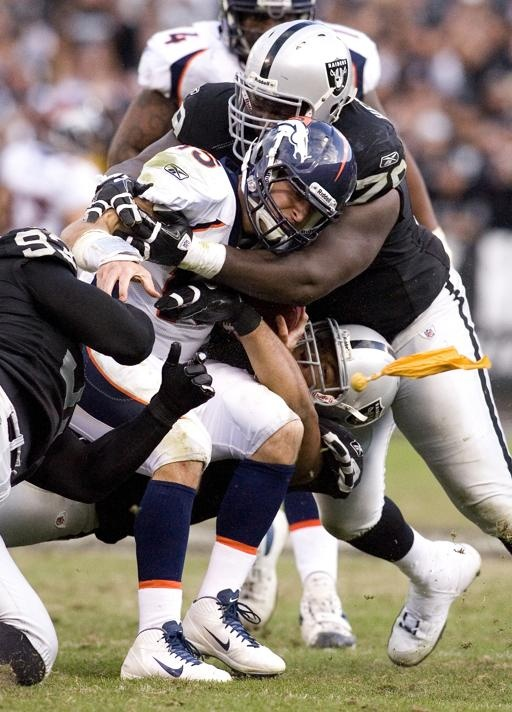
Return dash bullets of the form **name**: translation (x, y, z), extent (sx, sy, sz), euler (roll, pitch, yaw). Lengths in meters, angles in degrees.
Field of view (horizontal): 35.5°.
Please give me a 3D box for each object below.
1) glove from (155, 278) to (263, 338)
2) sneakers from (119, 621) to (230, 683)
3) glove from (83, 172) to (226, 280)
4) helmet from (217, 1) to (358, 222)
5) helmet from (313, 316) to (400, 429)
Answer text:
- **glove**: translation (-0.110, -0.111, 1.880), extent (0.241, 0.090, 0.108), euler (6, 72, -33)
- **sneakers**: translation (-0.181, 0.614, 1.700), extent (0.295, 0.093, 0.125), euler (3, 87, 11)
- **glove**: translation (-0.257, -0.311, 1.855), extent (0.196, 0.098, 0.259), euler (43, 63, 13)
- **helmet**: translation (0.088, -0.689, 2.148), extent (0.336, 0.324, 0.649), euler (8, 34, 5)
- **helmet**: translation (0.282, 0.047, 2.230), extent (0.275, 0.306, 0.203), euler (-11, 63, 19)
